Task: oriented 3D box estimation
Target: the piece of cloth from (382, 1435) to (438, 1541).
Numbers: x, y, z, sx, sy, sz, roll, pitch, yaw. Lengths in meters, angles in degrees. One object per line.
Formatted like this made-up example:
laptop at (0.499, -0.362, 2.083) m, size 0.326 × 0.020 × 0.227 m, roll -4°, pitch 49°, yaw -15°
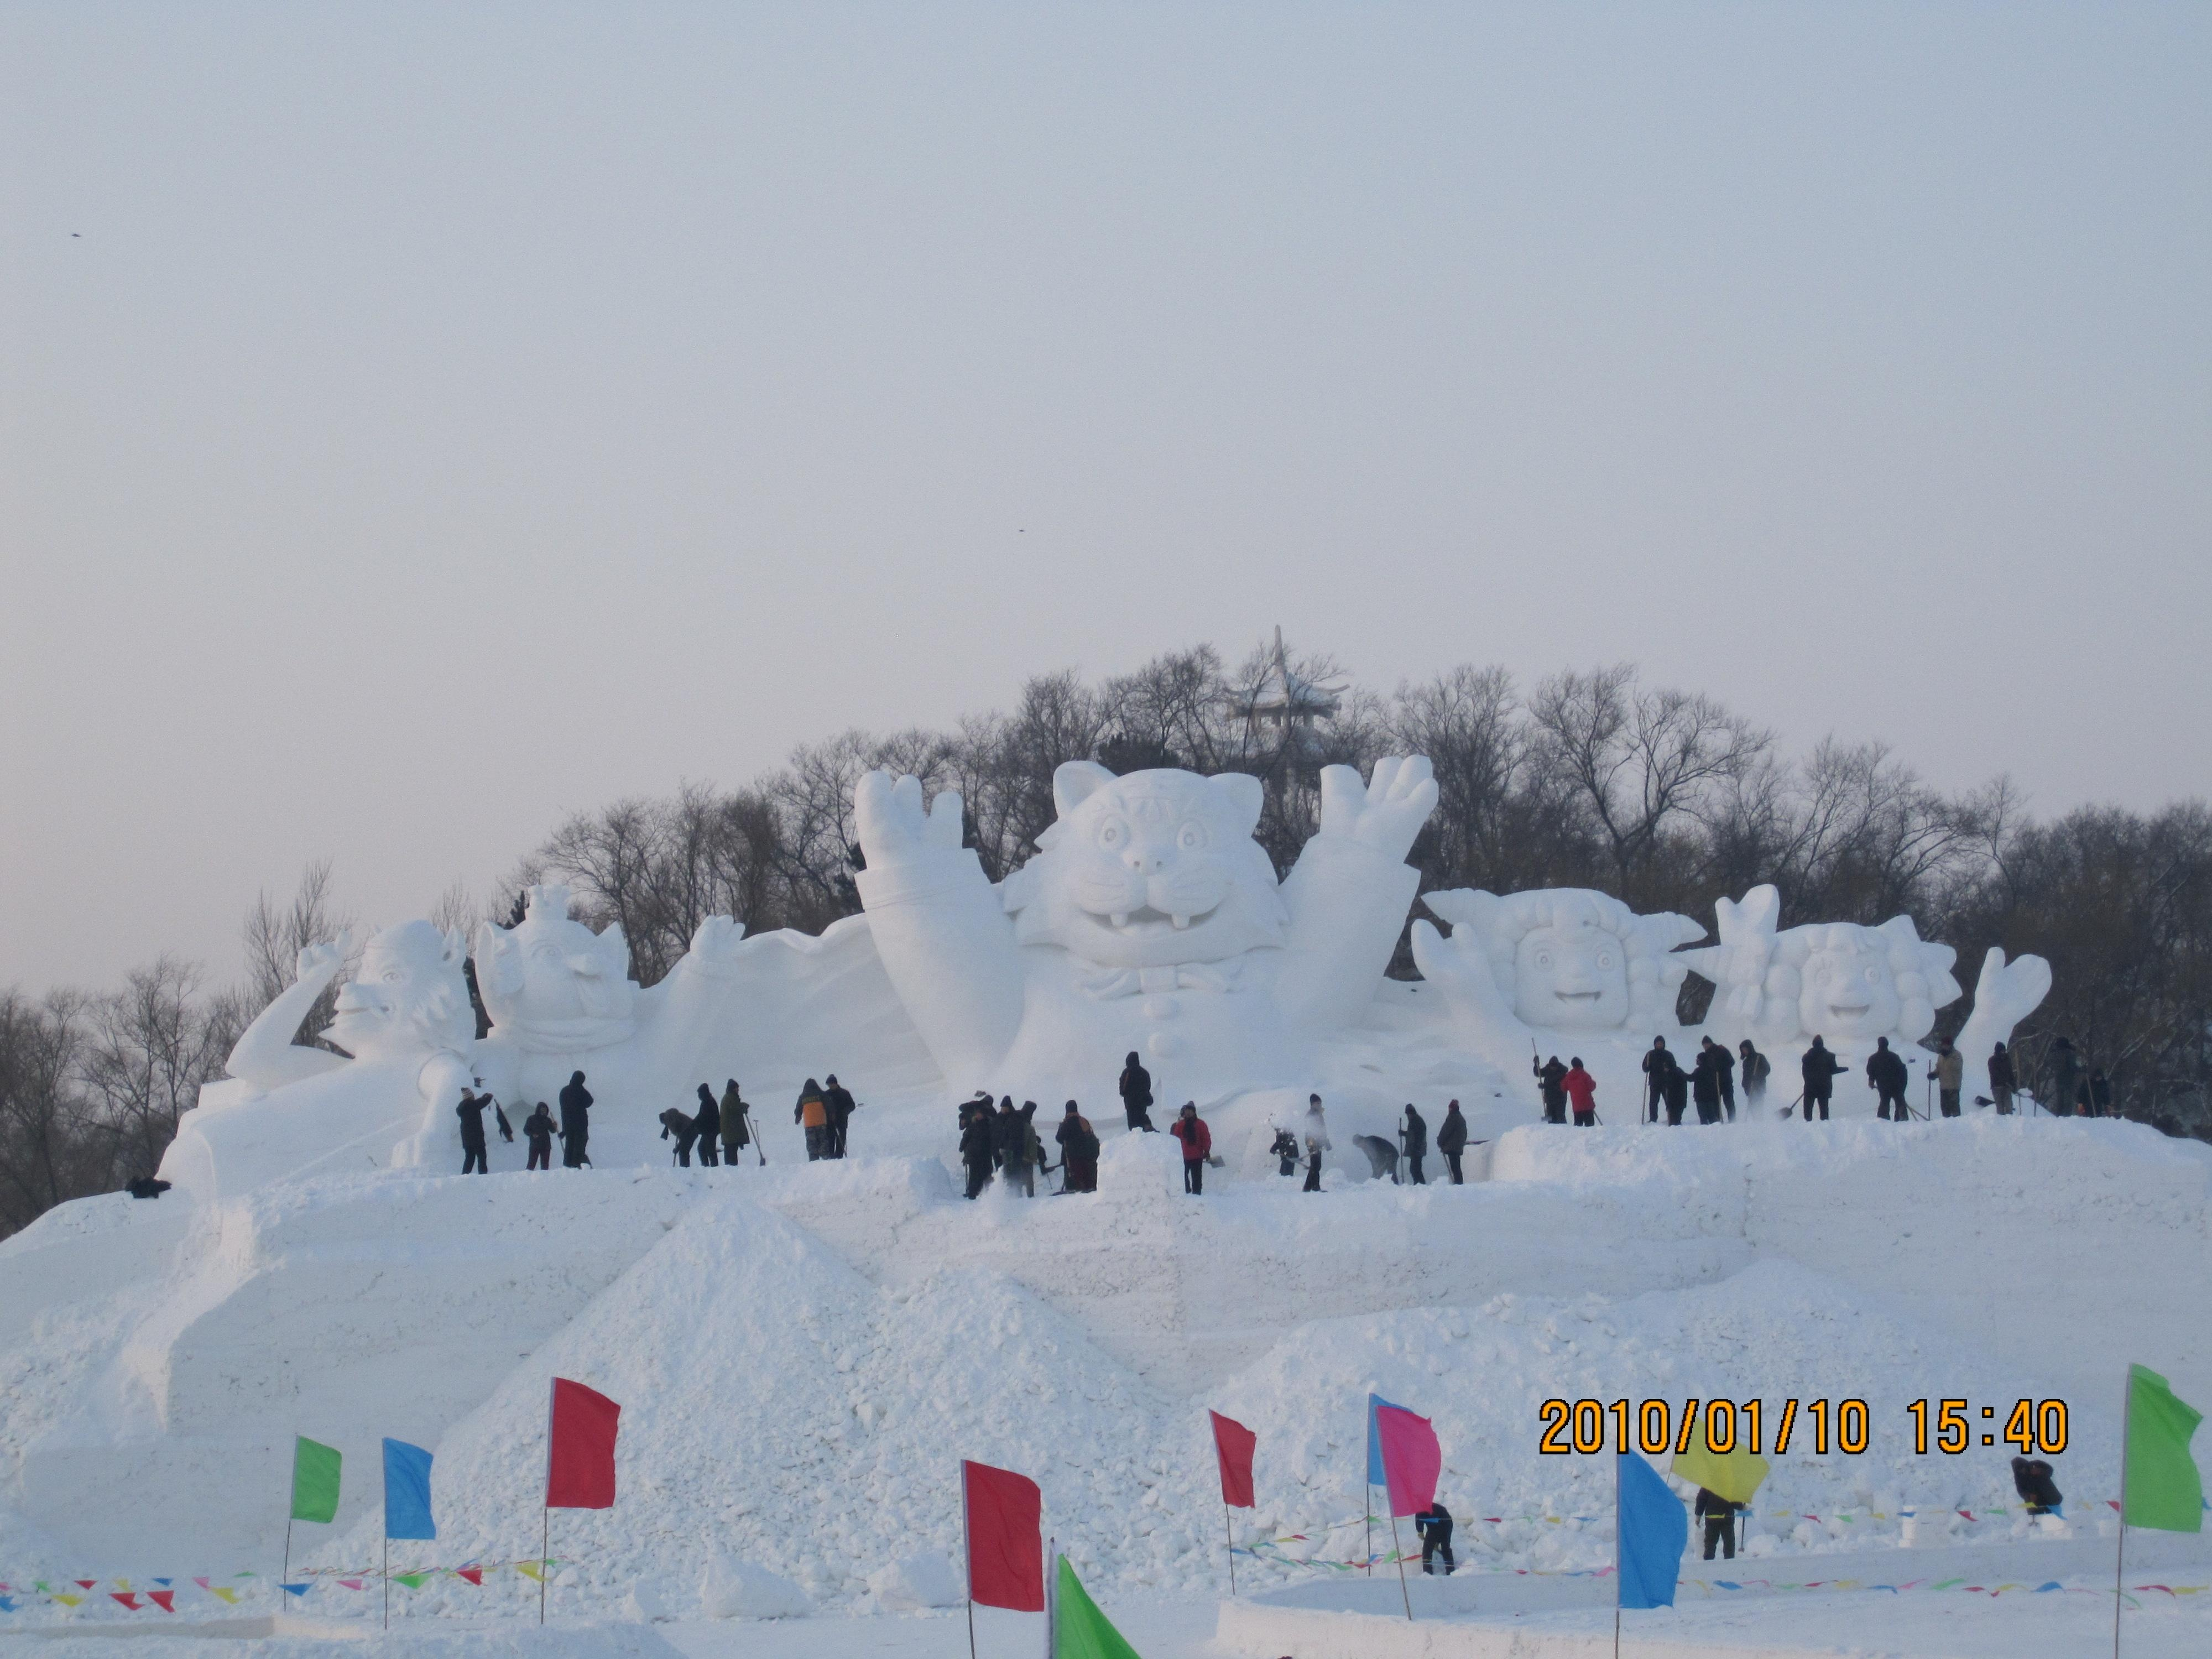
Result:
piece of cloth at (-5.504, 5.213, 39.415) m, size 0.348 × 0.794 × 0.486 m, roll -2°, pitch -2°, yaw -11°

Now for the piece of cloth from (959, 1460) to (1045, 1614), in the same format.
piece of cloth at (-0.757, 5.176, 36.512) m, size 0.537 × 1.084 × 0.425 m, roll -3°, pitch -2°, yaw -3°

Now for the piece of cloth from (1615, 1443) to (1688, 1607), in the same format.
piece of cloth at (3.967, 5.141, 36.720) m, size 0.501 × 1.287 × 0.159 m, roll -11°, pitch -36°, yaw 20°

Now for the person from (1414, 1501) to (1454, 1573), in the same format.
person at (2.582, 5.592, 39.457) m, size 0.292 × 0.531 × 0.847 m, roll -3°, pitch -2°, yaw 2°

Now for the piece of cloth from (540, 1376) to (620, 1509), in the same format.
piece of cloth at (-4.060, 4.774, 39.066) m, size 0.533 × 1.140 × 0.126 m, roll 2°, pitch 22°, yaw -8°

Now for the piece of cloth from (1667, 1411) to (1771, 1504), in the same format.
piece of cloth at (4.661, 4.824, 38.346) m, size 0.555 × 0.788 × 0.735 m, roll 4°, pitch -16°, yaw 1°

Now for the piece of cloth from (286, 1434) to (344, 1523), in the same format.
piece of cloth at (-6.367, 5.246, 40.211) m, size 0.347 × 0.668 × 0.563 m, roll -2°, pitch -2°, yaw -12°

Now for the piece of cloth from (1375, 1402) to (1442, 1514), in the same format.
piece of cloth at (2.282, 4.864, 38.473) m, size 0.445 × 0.861 × 0.509 m, roll -3°, pitch -2°, yaw 0°
